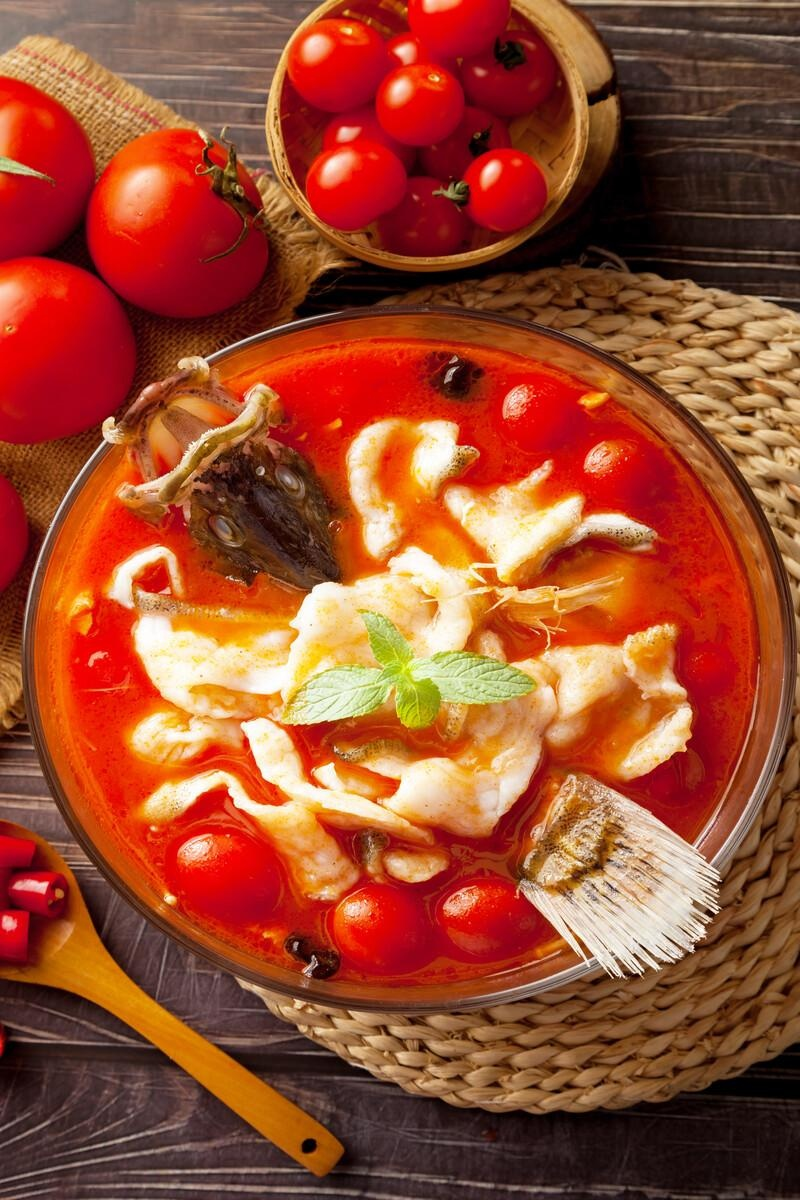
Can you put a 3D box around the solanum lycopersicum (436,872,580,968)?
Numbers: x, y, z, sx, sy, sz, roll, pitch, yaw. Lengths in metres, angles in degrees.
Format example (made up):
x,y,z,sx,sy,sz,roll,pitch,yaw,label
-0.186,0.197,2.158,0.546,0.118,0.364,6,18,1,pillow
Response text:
x,y,z,sx,sy,sz,roll,pitch,yaw,label
0.222,0.691,2.613,0.217,0.290,0.159,-29,95,-56,solanum lycopersicum

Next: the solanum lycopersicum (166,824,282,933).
x,y,z,sx,sy,sz,roll,pitch,yaw,label
-0.371,0.613,2.685,0.262,0.144,0.185,27,90,0,solanum lycopersicum

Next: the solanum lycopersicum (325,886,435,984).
x,y,z,sx,sy,sz,roll,pitch,yaw,label
-0.038,0.714,2.625,0.219,0.126,0.200,-10,99,13,solanum lycopersicum

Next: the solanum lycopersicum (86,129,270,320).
x,y,z,sx,sy,sz,roll,pitch,yaw,label
-0.584,-0.958,3.084,0.429,0.412,0.323,-14,56,-5,solanum lycopersicum

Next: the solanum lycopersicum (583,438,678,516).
x,y,z,sx,sy,sz,roll,pitch,yaw,label
0.513,-0.280,2.738,0.189,0.103,0.167,-21,85,0,solanum lycopersicum

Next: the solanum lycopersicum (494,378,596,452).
x,y,z,sx,sy,sz,roll,pitch,yaw,label
0.316,-0.441,2.772,0.085,0.297,0.267,-16,103,-20,solanum lycopersicum
